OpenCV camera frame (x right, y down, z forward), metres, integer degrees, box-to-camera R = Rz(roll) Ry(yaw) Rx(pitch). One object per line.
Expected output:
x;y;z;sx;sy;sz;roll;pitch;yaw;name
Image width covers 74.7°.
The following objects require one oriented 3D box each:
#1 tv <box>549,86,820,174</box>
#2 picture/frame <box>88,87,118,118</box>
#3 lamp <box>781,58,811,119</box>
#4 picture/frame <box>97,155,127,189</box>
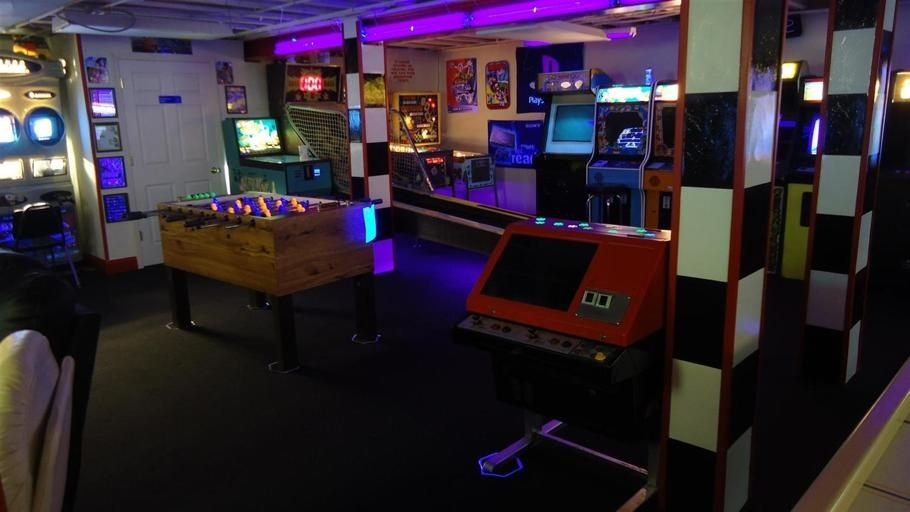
2.514;-1.353;6.424;1.865;1.030;0.622;12;19;42;tv
-5.026;-2.156;8.418;0.484;0.373;0.061;-9;9;-37;picture/frame
4.464;-2.155;7.874;0.264;0.742;0.315;-18;22;-41;lamp
-4.988;-1.198;8.570;0.055;0.495;0.451;-1;12;38;picture/frame
